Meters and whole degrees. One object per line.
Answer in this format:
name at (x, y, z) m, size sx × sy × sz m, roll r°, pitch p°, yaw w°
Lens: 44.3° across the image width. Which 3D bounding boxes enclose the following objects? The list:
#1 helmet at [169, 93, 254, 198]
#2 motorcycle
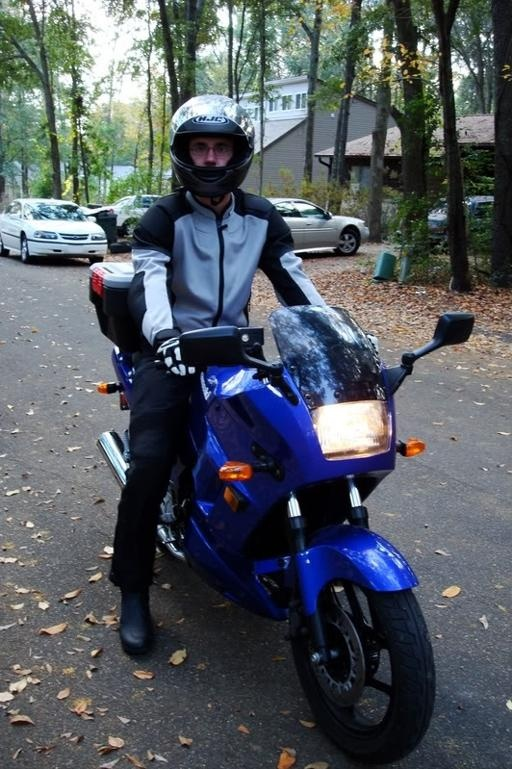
helmet at (-0.167, -0.947, 2.505) m, size 0.343 × 0.325 × 0.413 m, roll 0°, pitch 44°, yaw -1°
motorcycle at (0.030, 0.297, 2.270) m, size 0.834 × 0.920 × 1.681 m, roll -1°, pitch 10°, yaw -29°
